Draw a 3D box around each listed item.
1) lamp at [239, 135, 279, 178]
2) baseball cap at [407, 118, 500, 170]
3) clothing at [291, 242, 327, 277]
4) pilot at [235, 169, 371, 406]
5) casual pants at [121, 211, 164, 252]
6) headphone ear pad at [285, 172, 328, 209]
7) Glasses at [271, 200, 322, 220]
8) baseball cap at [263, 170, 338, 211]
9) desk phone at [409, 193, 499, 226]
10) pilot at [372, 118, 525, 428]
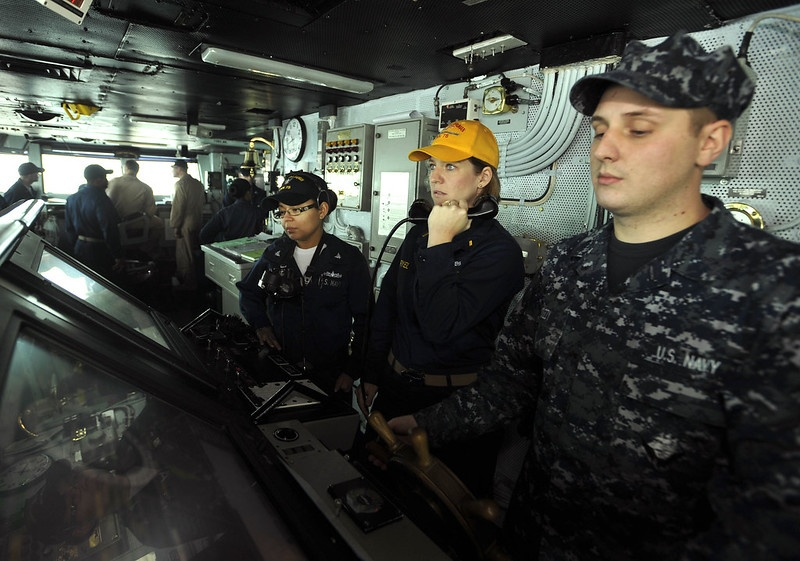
[{"bbox_3d":[-1.784,-1.598,6.520,0.465,0.466,0.433,-1,12,7],"label":"lamp"},{"bbox_3d":[0.256,-0.621,2.404,0.423,0.203,0.286,4,8,-39],"label":"baseball cap"},{"bbox_3d":[-0.537,-0.122,2.938,0.121,0.172,0.045,-2,-24,8],"label":"clothing"},{"bbox_3d":[-0.558,0.261,2.968,0.762,1.585,0.564,1,11,-1],"label":"pilot"},{"bbox_3d":[-3.382,-0.643,6.911,0.328,0.530,0.442,18,23,29],"label":"casual pants"},{"bbox_3d":[-0.567,-0.518,2.916,0.216,0.124,0.295,-2,8,20],"label":"headphone ear pad"},{"bbox_3d":[-0.523,-0.370,2.797,0.213,0.060,0.203,-9,9,-39],"label":"Glasses"},{"bbox_3d":[-0.516,-0.474,2.858,0.280,0.203,0.446,-1,10,-28],"label":"baseball cap"},{"bbox_3d":[0.234,-0.314,2.364,0.268,0.107,0.167,-8,16,14],"label":"desk phone"},{"bbox_3d":[0.198,0.010,2.432,0.554,1.525,0.534,-1,2,-29],"label":"pilot"}]
